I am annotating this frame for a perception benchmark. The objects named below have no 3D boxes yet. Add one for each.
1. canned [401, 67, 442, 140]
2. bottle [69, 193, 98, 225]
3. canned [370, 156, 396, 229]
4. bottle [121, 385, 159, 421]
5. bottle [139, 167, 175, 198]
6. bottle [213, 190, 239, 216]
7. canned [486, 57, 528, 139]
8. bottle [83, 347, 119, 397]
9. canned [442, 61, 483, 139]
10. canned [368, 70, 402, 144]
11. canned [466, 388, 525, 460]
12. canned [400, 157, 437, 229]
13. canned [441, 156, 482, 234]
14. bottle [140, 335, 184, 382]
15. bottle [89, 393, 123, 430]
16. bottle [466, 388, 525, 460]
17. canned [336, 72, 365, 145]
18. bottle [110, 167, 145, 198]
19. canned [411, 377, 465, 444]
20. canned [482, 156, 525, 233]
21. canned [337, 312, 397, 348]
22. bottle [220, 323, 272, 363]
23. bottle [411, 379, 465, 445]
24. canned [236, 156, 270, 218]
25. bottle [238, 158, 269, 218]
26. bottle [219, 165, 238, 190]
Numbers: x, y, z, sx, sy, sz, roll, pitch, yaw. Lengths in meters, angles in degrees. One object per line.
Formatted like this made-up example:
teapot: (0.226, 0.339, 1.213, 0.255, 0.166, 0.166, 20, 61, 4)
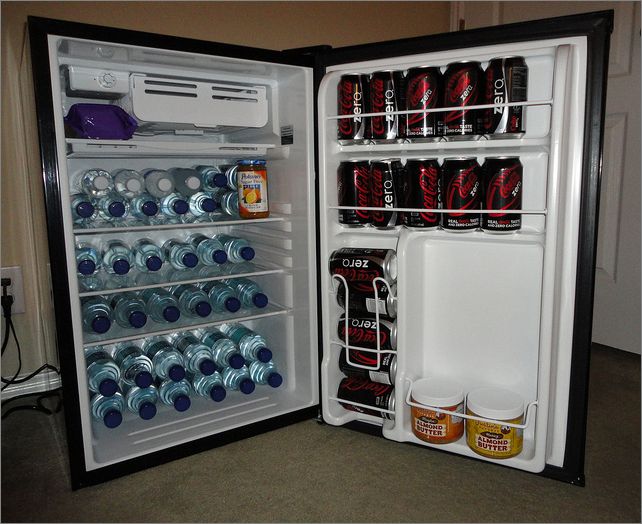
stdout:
canned: (0.323, -0.501, 1.535, 0.146, 0.218, 0.150, -4, 8, -18)
bottle: (-0.773, -0.173, 1.569, 0.075, 0.079, 0.130, 19, 1, -30)
canned: (0.204, -0.218, 1.587, 0.090, 0.225, 0.072, 2, 15, 15)
bottle: (-0.615, 0.506, 1.716, 0.156, 0.080, 0.211, -9, 0, -19)
bottle: (-0.554, -0.270, 1.648, 0.092, 0.097, 0.162, 16, 10, -23)
bottle: (-0.349, -0.223, 1.818, 0.085, 0.089, 0.138, -13, 20, -37)
canned: (0.548, -0.484, 1.433, 0.137, 0.218, 0.144, 1, 7, 11)
bottle: (-0.750, 0.379, 1.643, 0.099, 0.104, 0.258, -23, 23, -17)
canned: (0.427, -0.486, 1.442, 0.110, 0.207, 0.055, 3, 15, 18)
canned: (0.202, -0.496, 1.529, 0.097, 0.211, 0.063, 2, 15, 13)
canned: (0.553, 0.502, 1.532, 0.162, 0.173, 0.171, -2, 14, 16)
canned: (0.324, -0.218, 1.541, 0.114, 0.218, 0.050, 2, 15, 13)
canned: (0.432, -0.207, 1.482, 0.118, 0.217, 0.063, 3, 15, 17)
bottle: (-0.580, 0.357, 1.764, 0.051, 0.053, 0.184, 11, 15, -35)
bottle: (-0.724, 0.497, 1.631, 0.081, 0.088, 0.144, 27, -6, -28)
bottle: (0.551, 0.503, 1.535, 0.159, 0.176, 0.175, -1, 14, 5)
canned: (0.095, -0.499, 1.569, 0.095, 0.210, 0.079, 2, 15, 14)
bottle: (-0.655, -0.264, 1.634, 0.072, 0.075, 0.125, 21, 9, -30)
canned: (0.380, 0.484, 1.622, 0.170, 0.166, 0.165, 7, 16, 27)
canned: (0.556, -0.208, 1.481, 0.154, 0.223, 0.161, 4, 9, 20)
canned: (0.167, 0.245, 1.657, 0.215, 0.127, 0.123, 1, 19, 32)
bottle: (-0.297, 0.320, 1.892, 0.085, 0.086, 0.310, 21, 8, -37)
bottle: (0.377, 0.481, 1.625, 0.171, 0.165, 0.166, 7, 17, 27)
canned: (-0.251, -0.265, 1.773, 0.115, 0.211, 0.120, -1, 6, 4)
bottle: (-0.251, -0.266, 1.774, 0.115, 0.209, 0.120, -2, 6, 0)
bottle: (-0.340, -0.318, 1.838, 0.084, 0.090, 0.081, 9, 9, 37)
